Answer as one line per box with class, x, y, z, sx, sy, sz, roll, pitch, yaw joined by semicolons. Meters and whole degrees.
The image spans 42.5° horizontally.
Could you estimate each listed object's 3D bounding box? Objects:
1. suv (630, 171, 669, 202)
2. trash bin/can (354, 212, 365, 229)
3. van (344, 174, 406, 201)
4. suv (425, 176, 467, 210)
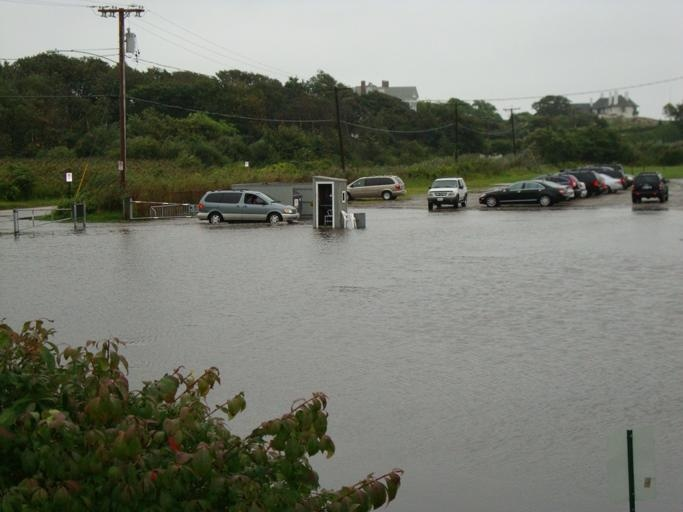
suv;16.119;-3.541;45.691;1.736;1.587;2.244;3;8;22
trash bin/can;0.766;-1.386;34.760;0.523;0.637;0.540;-3;5;-27
van;2.401;-4.638;60.022;3.470;1.478;1.808;3;5;10
suv;5.908;-3.488;48.507;1.370;1.307;2.659;-1;0;13
